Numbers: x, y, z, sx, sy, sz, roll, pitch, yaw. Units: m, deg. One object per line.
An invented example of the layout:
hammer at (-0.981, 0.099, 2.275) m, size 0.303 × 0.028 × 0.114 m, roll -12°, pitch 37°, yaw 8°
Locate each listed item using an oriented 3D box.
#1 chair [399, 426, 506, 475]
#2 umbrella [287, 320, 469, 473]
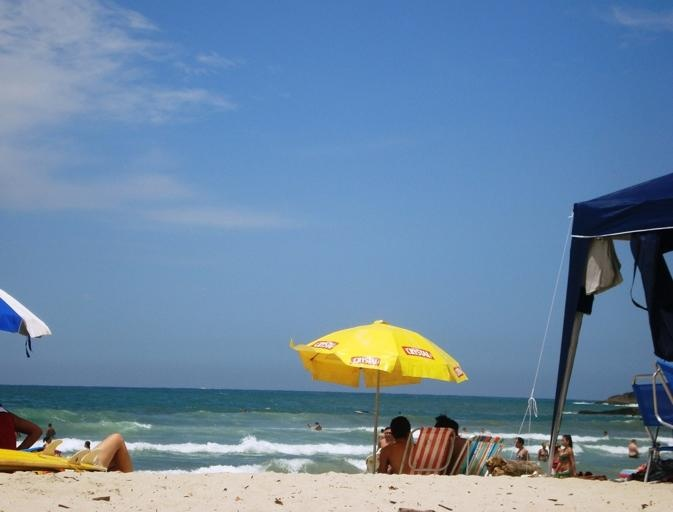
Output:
chair at (1.592, 2.652, 10.078) m, size 1.493 × 0.677 × 0.643 m, roll 8°, pitch -2°, yaw -30°
umbrella at (0.569, 1.938, 10.521) m, size 2.540 × 2.042 × 2.366 m, roll 8°, pitch -4°, yaw 12°
